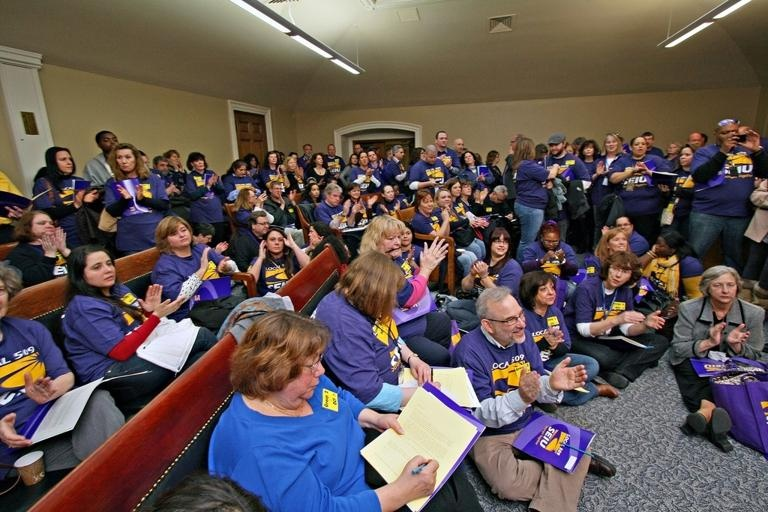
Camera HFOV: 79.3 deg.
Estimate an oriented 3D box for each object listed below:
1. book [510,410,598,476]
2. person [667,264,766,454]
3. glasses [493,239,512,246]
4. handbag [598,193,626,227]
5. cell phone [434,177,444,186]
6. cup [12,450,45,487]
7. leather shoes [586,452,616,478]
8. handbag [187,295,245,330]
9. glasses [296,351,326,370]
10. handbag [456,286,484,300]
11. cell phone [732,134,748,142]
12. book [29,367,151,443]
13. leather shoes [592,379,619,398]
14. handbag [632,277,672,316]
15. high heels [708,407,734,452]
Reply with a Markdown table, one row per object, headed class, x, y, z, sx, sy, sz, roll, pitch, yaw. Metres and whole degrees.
| class | x | y | z | sx | sy | sz | roll | pitch | yaw |
| --- | --- | --- | --- | --- | --- | --- | --- | --- | --- |
| book | 1.196 | 1.337 | 3.330 | 0.371 | 0.095 | 0.368 | 23 | 42 | 33 |
| person | 2.700 | 0.673 | 4.039 | 0.670 | 1.122 | 1.634 | 2 | 33 | 31 |
| glasses | 1.237 | -0.166 | 4.875 | 0.188 | 0.093 | 0.054 | -1 | 17 | -9 |
| handbag | 3.121 | -0.661 | 6.422 | 0.151 | 0.407 | 0.386 | 1 | -9 | 21 |
| cell phone | 0.855 | -1.147 | 7.066 | 0.075 | 0.111 | 0.239 | 1 | 16 | 20 |
| cup | -2.214 | 1.355 | 2.911 | 0.144 | 0.144 | 0.188 | 1 | 13 | 21 |
| leather shoes | 1.626 | 1.538 | 3.392 | 0.282 | 0.111 | 0.125 | 2 | 6 | 38 |
| handbag | -1.503 | 0.486 | 4.255 | 0.266 | 0.131 | 0.356 | 9 | 12 | 26 |
| glasses | -0.418 | 0.647 | 2.759 | 0.136 | 0.044 | 0.140 | -2 | 11 | 4 |
| handbag | 0.925 | 0.389 | 4.927 | 0.204 | 0.105 | 0.286 | -2 | 1 | 11 |
| cell phone | 3.710 | -1.241 | 4.847 | 0.150 | 0.106 | 0.036 | 1 | 4 | -17 |
| book | -2.076 | 1.064 | 3.125 | 0.347 | 0.133 | 0.481 | 17 | 42 | 39 |
| leather shoes | 1.925 | 1.162 | 4.078 | 0.261 | 0.100 | 0.115 | 11 | -23 | 43 |
| handbag | 2.772 | 0.393 | 4.782 | 0.464 | 0.257 | 0.383 | 1 | 13 | 43 |
| high heels | 2.614 | 1.326 | 3.630 | 0.162 | 0.190 | 0.505 | -21 | -10 | 29 |
